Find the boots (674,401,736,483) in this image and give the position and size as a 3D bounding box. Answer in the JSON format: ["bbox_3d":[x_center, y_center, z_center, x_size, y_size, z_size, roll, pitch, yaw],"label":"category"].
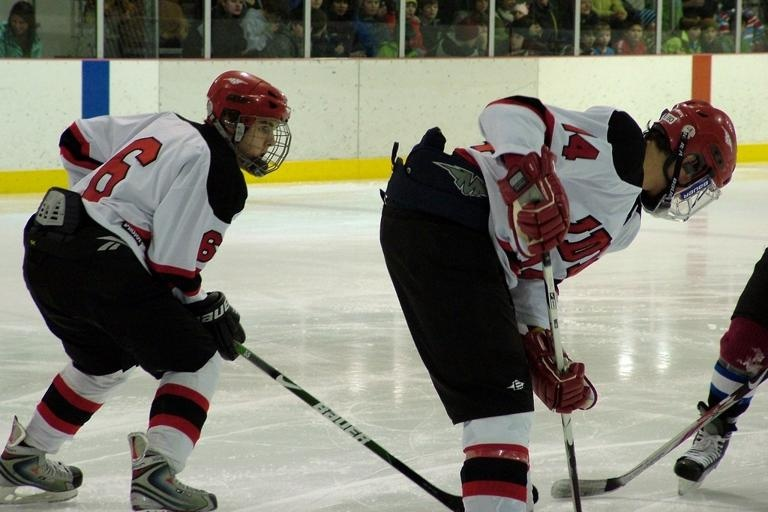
[{"bbox_3d":[1.172,0.686,3.432,0.104,0.152,0.313,33,50,21],"label":"boots"}]

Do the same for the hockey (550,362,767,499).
[{"bbox_3d":[1.015,0.662,3.472,0.911,0.093,0.114,-25,40,0],"label":"hockey"}]

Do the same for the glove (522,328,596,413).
[{"bbox_3d":[0.544,0.379,3.022,0.219,0.276,0.125,-5,-25,-47],"label":"glove"}]

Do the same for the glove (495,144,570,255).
[{"bbox_3d":[0.442,-0.171,2.862,0.219,0.304,0.144,-22,4,9],"label":"glove"}]

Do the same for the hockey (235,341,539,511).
[{"bbox_3d":[0.004,0.621,3.314,0.868,0.257,0.045,32,55,13],"label":"hockey"}]
